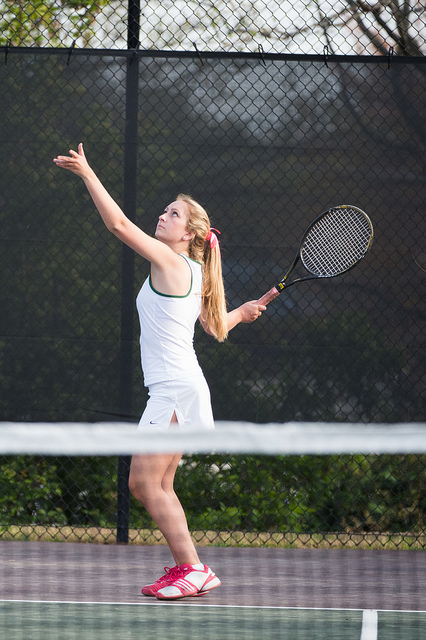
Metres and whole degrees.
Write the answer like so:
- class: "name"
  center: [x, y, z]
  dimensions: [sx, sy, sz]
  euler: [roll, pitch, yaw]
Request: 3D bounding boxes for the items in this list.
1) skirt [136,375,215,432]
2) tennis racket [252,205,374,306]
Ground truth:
- class: "skirt"
  center: [-0.109, 0.278, 2.938]
  dimensions: [0.290, 0.181, 0.161]
  euler: [-3, 5, 10]
- class: "tennis racket"
  center: [0.403, -0.199, 4.035]
  dimensions: [0.268, 0.057, 0.885]
  euler: [17, -28, -19]
